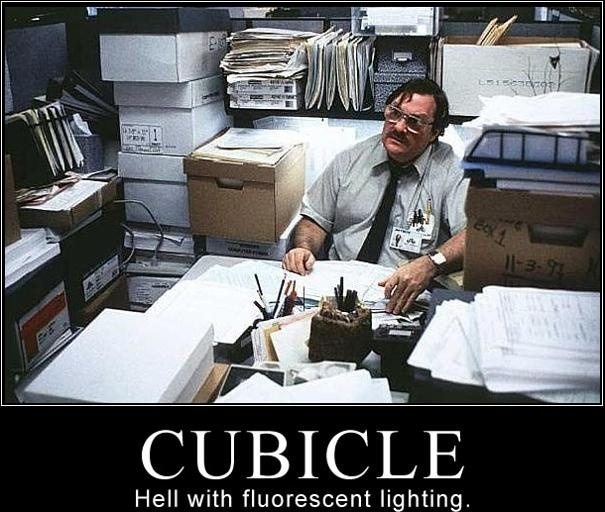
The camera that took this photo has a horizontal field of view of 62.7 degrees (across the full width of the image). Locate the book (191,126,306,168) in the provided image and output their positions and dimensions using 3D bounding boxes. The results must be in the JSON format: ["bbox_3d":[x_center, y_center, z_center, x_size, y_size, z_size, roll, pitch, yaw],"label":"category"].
[{"bbox_3d":[-0.221,-0.442,2.027,0.252,0.070,0.283,7,27,14],"label":"book"}]

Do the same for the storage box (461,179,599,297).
[{"bbox_3d":[0.471,-0.032,1.050,0.210,0.147,0.230,2,13,10],"label":"storage box"}]

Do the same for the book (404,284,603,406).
[{"bbox_3d":[0.372,0.127,0.908,0.294,0.102,0.326,9,26,24],"label":"book"}]

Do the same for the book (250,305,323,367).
[{"bbox_3d":[-0.036,0.183,1.108,0.123,0.046,0.136,-8,43,13],"label":"book"}]
